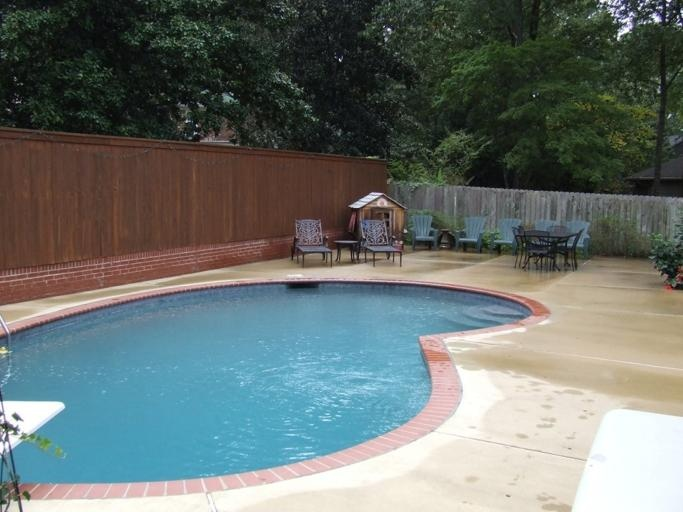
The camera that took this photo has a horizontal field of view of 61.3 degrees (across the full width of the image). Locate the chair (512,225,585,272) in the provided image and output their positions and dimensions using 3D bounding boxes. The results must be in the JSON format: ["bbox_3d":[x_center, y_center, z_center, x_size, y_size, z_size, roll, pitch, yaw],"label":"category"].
[{"bbox_3d":[5.021,-0.172,14.156,1.202,0.622,1.552,2,7,23],"label":"chair"}]
